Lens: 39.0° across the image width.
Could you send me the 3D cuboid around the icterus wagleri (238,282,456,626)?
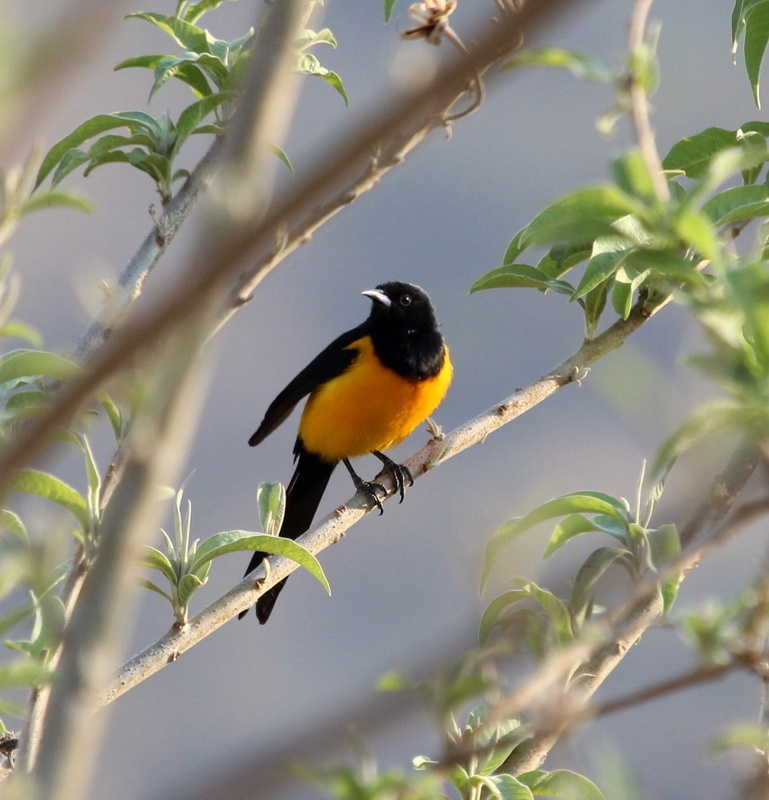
[{"bbox_3d":[-0.178,0.147,4.756,0.546,0.903,1.505,24,-52,-34],"label":"icterus wagleri"}]
